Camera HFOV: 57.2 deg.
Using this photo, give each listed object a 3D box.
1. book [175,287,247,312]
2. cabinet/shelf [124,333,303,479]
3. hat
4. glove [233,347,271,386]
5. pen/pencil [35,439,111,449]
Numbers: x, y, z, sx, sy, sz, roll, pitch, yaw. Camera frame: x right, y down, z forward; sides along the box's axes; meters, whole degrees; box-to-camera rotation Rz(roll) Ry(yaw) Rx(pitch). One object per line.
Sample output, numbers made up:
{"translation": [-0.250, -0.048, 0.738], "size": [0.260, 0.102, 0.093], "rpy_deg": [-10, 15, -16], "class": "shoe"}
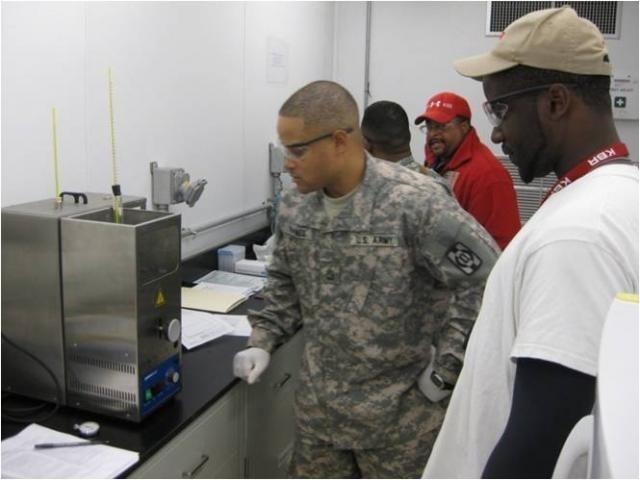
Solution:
{"translation": [-0.478, 0.261, 2.589], "size": [0.163, 0.018, 0.174], "rpy_deg": [7, 9, 26], "class": "book"}
{"translation": [-0.356, 0.529, 1.912], "size": [0.295, 0.360, 0.550], "rpy_deg": [11, 21, 33], "class": "cabinet/shelf"}
{"translation": [0.460, -0.423, 1.264], "size": [0.280, 0.144, 0.173], "rpy_deg": [8, 22, 20], "class": "hat"}
{"translation": [-0.229, 0.409, 1.984], "size": [0.103, 0.088, 0.075], "rpy_deg": [-5, -38, 42], "class": "glove"}
{"translation": [-0.677, 0.551, 1.587], "size": [0.189, 0.015, 0.014], "rpy_deg": [2, 53, -22], "class": "pen/pencil"}
